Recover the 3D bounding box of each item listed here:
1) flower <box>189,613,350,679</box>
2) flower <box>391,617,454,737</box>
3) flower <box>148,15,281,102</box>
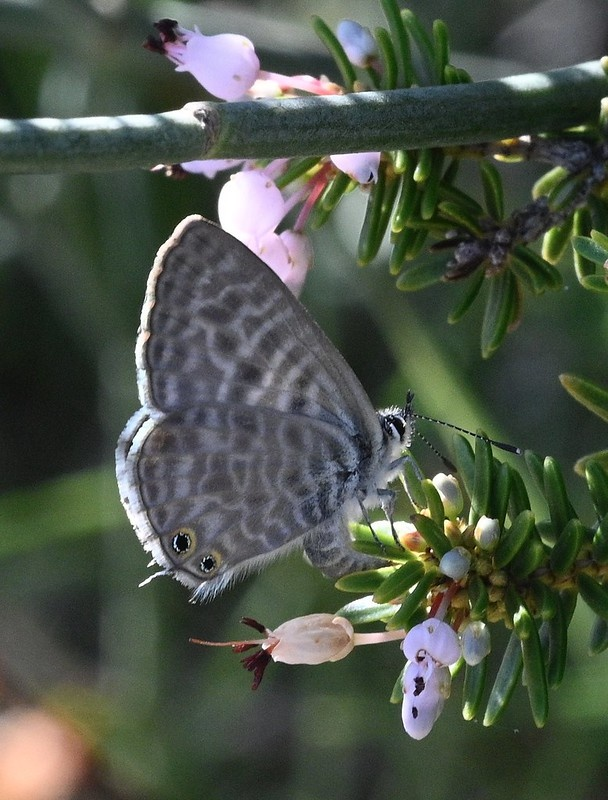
[{"bbox_3d":[-0.041,0.297,1.142,0.223,0.064,0.054,-9,-6,17],"label":"flower"},{"bbox_3d":[0.139,0.295,1.020,0.061,0.127,0.133,3,7,9],"label":"flower"},{"bbox_3d":[-0.125,-0.428,1.167,0.139,0.111,0.137,1,7,-4],"label":"flower"}]
